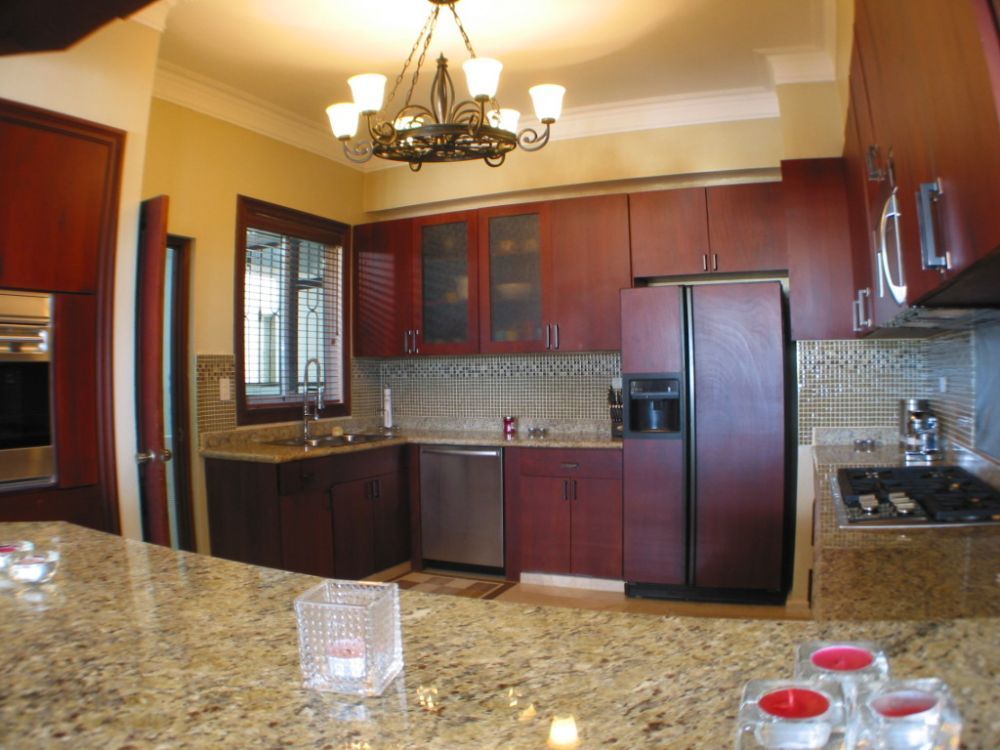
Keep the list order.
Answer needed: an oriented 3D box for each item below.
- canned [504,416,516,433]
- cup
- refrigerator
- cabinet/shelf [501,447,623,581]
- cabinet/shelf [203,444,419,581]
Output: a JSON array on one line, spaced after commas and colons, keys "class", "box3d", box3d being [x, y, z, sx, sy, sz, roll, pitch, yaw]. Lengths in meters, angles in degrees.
[{"class": "canned", "box3d": [0.065, 0.346, 5.247, 0.093, 0.103, 0.094, 0, 2, -23]}, {"class": "cup", "box3d": [-0.291, 0.492, 1.443, 0.191, 0.184, 0.145, -1, 8, 4]}, {"class": "refrigerator", "box3d": [1.182, 0.391, 4.338, 0.949, 1.853, 0.390, 0, 8, 10]}, {"class": "cabinet/shelf", "box3d": [0.412, 0.854, 4.629, 0.804, 0.848, 0.416, -1, -4, 19]}, {"class": "cabinet/shelf", "box3d": [-1.117, 0.763, 4.238, 0.343, 0.616, 0.926, -2, -1, 23]}]
